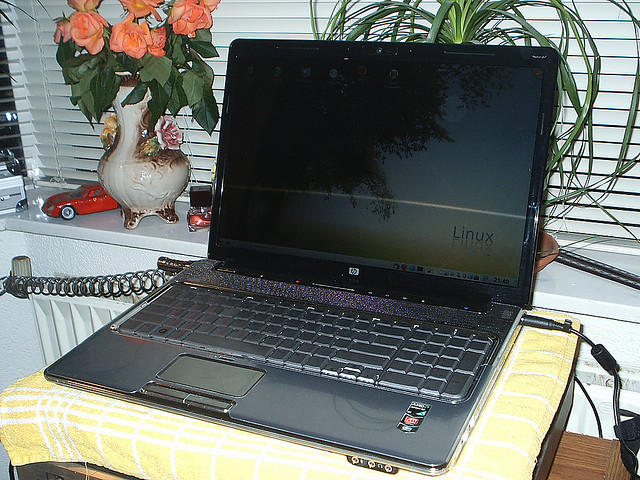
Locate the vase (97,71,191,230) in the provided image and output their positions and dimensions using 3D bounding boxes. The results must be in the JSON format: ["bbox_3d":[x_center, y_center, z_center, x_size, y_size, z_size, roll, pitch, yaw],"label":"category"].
[{"bbox_3d":[-0.425,-0.206,1.174,0.203,0.370,0.090,7,11,6],"label":"vase"}]
